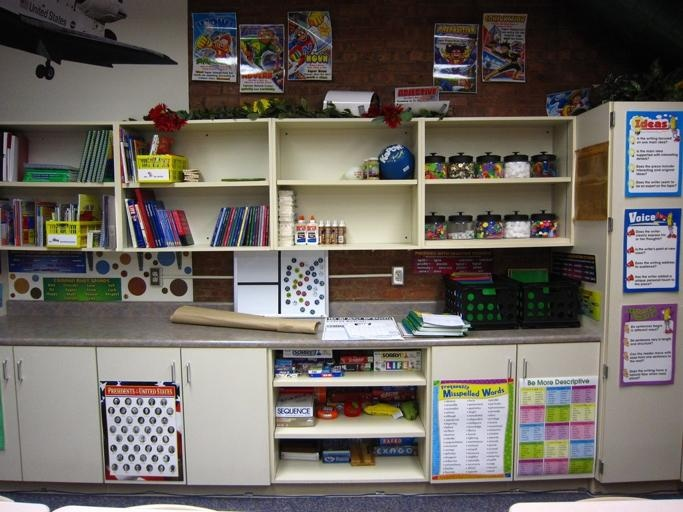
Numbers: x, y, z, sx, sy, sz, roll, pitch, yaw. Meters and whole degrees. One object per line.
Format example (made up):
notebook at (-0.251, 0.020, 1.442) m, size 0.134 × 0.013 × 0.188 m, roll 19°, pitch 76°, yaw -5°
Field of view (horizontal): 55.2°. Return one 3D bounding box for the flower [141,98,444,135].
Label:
flower at (-0.291, -1.003, 4.687) m, size 1.476 × 0.235 × 0.210 m, roll -1°, pitch 41°, yaw -1°

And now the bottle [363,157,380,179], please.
bottle at (0.217, -0.630, 4.678) m, size 0.116 × 0.152 × 0.101 m, roll -1°, pitch 4°, yaw 2°

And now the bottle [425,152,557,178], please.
bottle at (1.090, -0.649, 4.681) m, size 0.987 × 0.192 × 0.204 m, roll -1°, pitch 4°, yaw -7°

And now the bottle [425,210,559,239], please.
bottle at (1.100, -0.220, 4.743) m, size 0.980 × 0.184 × 0.179 m, roll -1°, pitch 4°, yaw 3°

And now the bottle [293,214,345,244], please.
bottle at (-0.154, -0.192, 4.783) m, size 0.373 × 0.211 × 0.260 m, roll -1°, pitch 4°, yaw 0°

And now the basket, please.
basket at (1.229, 0.317, 4.458) m, size 0.548 × 0.223 × 0.535 m, roll 0°, pitch 7°, yaw 4°
